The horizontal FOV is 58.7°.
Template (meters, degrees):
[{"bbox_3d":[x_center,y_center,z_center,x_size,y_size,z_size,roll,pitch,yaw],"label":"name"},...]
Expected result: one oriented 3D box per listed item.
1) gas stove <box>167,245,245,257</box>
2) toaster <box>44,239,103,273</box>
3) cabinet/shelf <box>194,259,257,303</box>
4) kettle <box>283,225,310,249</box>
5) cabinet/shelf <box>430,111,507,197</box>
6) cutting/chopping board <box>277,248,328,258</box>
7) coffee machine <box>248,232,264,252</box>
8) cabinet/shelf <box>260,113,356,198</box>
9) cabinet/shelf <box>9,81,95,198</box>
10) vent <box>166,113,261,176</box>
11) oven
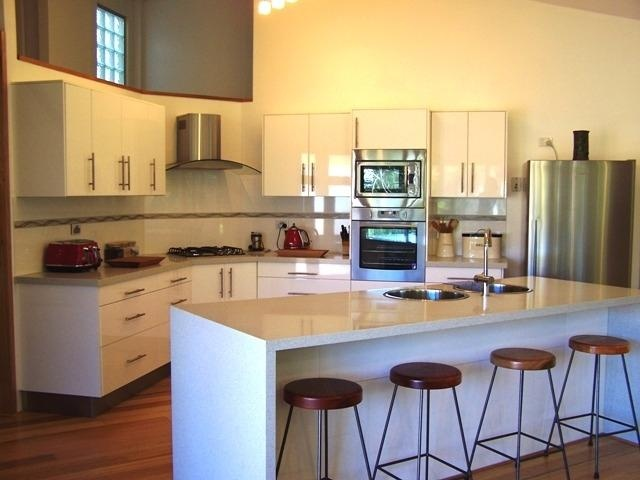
[{"bbox_3d":[-1.209,0.115,5.926,0.797,0.073,0.515,-1,9,-10],"label":"gas stove"},{"bbox_3d":[-2.114,0.154,4.816,0.281,0.229,0.391,2,0,1],"label":"toaster"},{"bbox_3d":[-0.983,0.416,5.655,0.660,0.427,0.370,-2,4,-25],"label":"cabinet/shelf"},{"bbox_3d":[-0.246,-0.026,6.166,0.306,0.290,0.190,1,-1,-2],"label":"kettle"},{"bbox_3d":[1.489,-0.876,5.631,0.848,0.957,0.365,0,1,7],"label":"cabinet/shelf"},{"bbox_3d":[-0.194,0.134,5.944,0.523,0.051,0.474,1,9,2],"label":"cutting/chopping board"},{"bbox_3d":[-0.710,0.023,6.243,0.180,0.188,0.244,-1,9,-8],"label":"coffee machine"},{"bbox_3d":[-0.103,-0.890,5.830,0.894,0.777,0.353,0,1,6],"label":"cabinet/shelf"},{"bbox_3d":[-2.118,-0.806,4.506,0.601,0.889,0.286,-5,10,-26],"label":"cabinet/shelf"},{"bbox_3d":[-1.155,-1.016,5.995,0.947,0.615,0.622,-1,2,-23],"label":"vent"},{"bbox_3d":[0.739,0.034,5.790,0.775,0.736,0.530,0,6,19],"label":"oven"}]
